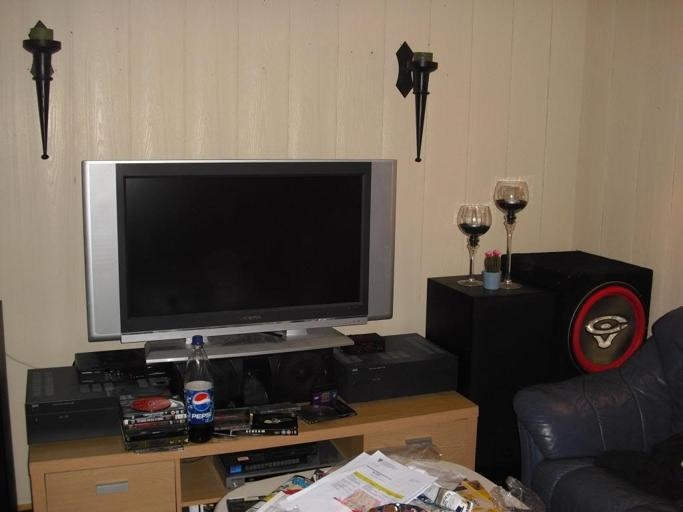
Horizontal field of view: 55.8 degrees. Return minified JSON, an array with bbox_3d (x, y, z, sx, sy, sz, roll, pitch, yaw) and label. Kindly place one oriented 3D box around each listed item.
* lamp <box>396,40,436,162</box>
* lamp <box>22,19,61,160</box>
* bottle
[{"bbox_3d":[0.383,-0.738,3.096,0.215,0.582,0.186,-5,10,-10],"label":"lamp"},{"bbox_3d":[-1.216,-0.685,2.658,0.141,0.566,0.134,-7,10,-21],"label":"lamp"},{"bbox_3d":[-0.584,0.521,2.610,0.125,0.412,0.204,-6,10,-13],"label":"bottle"}]
